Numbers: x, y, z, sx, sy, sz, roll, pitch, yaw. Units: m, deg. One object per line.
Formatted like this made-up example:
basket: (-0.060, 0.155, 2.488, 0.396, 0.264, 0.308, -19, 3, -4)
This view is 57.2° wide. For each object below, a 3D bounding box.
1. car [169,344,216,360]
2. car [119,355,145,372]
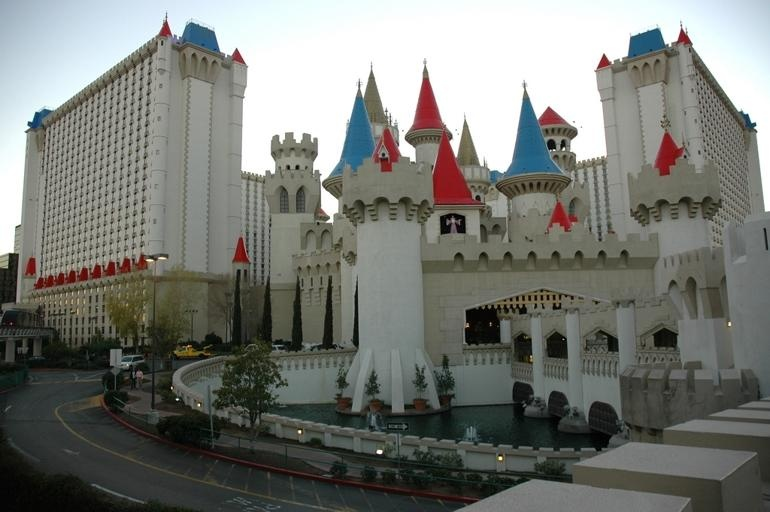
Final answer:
car: (-15.818, 8.047, 58.296, 2.886, 1.037, 1.580, 2, -14, -3)
car: (-17.522, 7.335, 49.209, 1.376, 1.191, 2.314, -4, -11, 12)
